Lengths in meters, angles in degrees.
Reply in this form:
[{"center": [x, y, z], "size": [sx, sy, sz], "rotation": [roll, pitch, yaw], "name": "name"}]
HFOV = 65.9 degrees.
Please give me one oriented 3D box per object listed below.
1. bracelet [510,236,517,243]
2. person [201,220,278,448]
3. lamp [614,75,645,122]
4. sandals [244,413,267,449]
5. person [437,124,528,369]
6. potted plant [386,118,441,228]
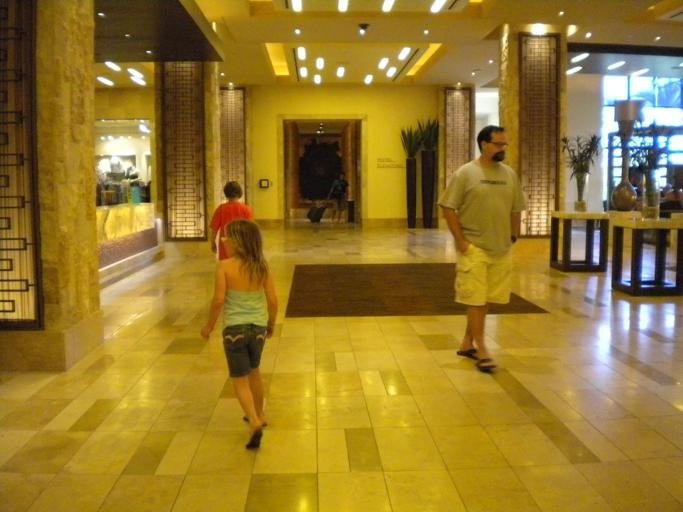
[{"center": [1.362, -0.129, 4.154], "size": [0.045, 0.046, 0.048], "rotation": [0, 13, 20], "name": "bracelet"}, {"center": [-0.560, 0.433, 2.987], "size": [0.412, 1.253, 0.319], "rotation": [-4, 7, -28], "name": "person"}, {"center": [4.385, -2.201, 8.026], "size": [0.358, 0.386, 0.475], "rotation": [3, 9, 26], "name": "lamp"}, {"center": [-0.479, 1.013, 2.980], "size": [0.077, 0.218, 0.061], "rotation": [8, 12, -27], "name": "sandals"}, {"center": [1.103, 0.026, 4.105], "size": [0.669, 1.613, 0.387], "rotation": [0, 7, 6], "name": "person"}, {"center": [2.455, -2.544, 16.361], "size": [1.177, 3.341, 0.856], "rotation": [-1, 7, -1], "name": "potted plant"}]
